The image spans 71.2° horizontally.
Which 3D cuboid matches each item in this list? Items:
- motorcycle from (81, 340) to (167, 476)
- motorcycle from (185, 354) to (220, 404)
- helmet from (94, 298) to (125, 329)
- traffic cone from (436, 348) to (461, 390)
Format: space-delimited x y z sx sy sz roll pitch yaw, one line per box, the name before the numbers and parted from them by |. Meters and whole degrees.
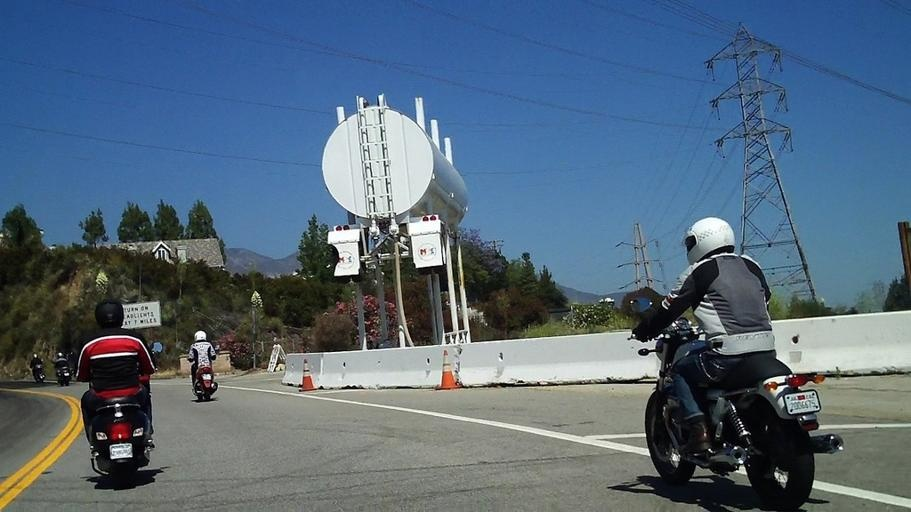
motorcycle | -5.491 2.372 10.383 1.091 2.018 0.649 -4 -1 -25
motorcycle | -8.642 4.177 21.798 0.712 1.028 1.719 -3 0 -15
helmet | -5.948 0.995 10.861 0.430 0.561 0.550 1 -10 -7
traffic cone | -0.176 3.291 18.890 0.707 1.166 0.653 -5 -1 16
